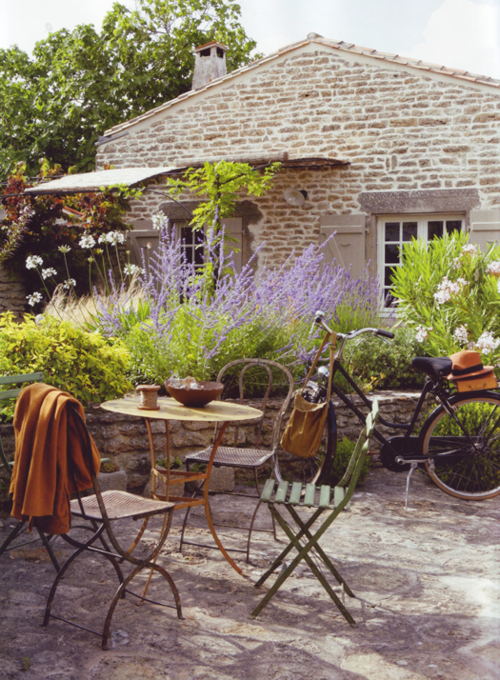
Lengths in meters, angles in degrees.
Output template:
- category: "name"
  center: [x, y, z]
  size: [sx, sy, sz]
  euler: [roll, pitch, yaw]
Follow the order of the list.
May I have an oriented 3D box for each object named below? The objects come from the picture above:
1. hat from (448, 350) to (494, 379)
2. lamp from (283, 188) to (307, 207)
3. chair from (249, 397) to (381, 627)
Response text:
- category: "hat"
  center: [1.456, 0.160, 4.277]
  size: [0.278, 0.186, 0.148]
  euler: [2, 2, 12]
- category: "lamp"
  center: [0.695, -2.163, 9.749]
  size: [0.311, 0.264, 0.309]
  euler: [9, 18, 7]
- category: "chair"
  center: [0.316, 0.708, 3.073]
  size: [0.504, 0.938, 1.268]
  euler: [2, 1, 8]
